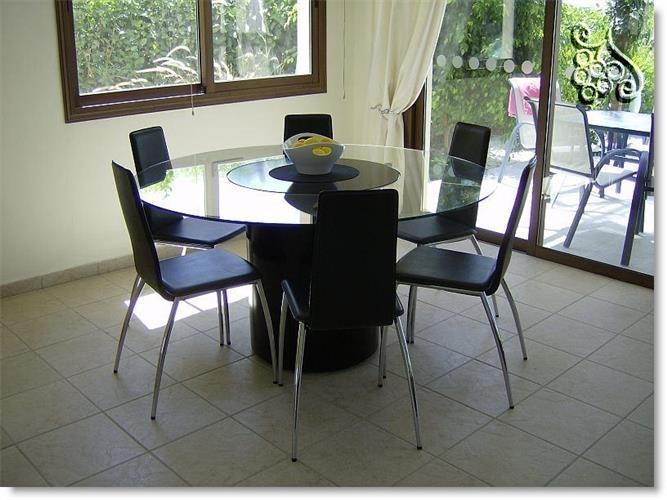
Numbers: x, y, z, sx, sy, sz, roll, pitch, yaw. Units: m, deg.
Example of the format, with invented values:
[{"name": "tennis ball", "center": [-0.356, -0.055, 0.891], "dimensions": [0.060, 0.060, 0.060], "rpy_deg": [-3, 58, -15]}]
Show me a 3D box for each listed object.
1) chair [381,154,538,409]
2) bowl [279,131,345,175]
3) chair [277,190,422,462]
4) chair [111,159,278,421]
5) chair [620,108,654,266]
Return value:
[{"name": "chair", "center": [0.682, 0.130, 2.707], "dimensions": [0.679, 1.141, 0.625], "rpy_deg": [5, 14, 21]}, {"name": "bowl", "center": [-0.110, -0.544, 2.850], "dimensions": [0.363, 0.202, 0.363], "rpy_deg": [0, 22, 0]}, {"name": "chair", "center": [0.063, 0.252, 2.266], "dimensions": [0.671, 1.149, 0.675], "rpy_deg": [-5, 24, -8]}, {"name": "chair", "center": [-0.730, 0.150, 2.648], "dimensions": [0.741, 1.121, 0.683], "rpy_deg": [-6, 16, -26]}, {"name": "chair", "center": [2.205, -0.399, 3.603], "dimensions": [0.128, 1.068, 0.203], "rpy_deg": [13, 28, 29]}]
